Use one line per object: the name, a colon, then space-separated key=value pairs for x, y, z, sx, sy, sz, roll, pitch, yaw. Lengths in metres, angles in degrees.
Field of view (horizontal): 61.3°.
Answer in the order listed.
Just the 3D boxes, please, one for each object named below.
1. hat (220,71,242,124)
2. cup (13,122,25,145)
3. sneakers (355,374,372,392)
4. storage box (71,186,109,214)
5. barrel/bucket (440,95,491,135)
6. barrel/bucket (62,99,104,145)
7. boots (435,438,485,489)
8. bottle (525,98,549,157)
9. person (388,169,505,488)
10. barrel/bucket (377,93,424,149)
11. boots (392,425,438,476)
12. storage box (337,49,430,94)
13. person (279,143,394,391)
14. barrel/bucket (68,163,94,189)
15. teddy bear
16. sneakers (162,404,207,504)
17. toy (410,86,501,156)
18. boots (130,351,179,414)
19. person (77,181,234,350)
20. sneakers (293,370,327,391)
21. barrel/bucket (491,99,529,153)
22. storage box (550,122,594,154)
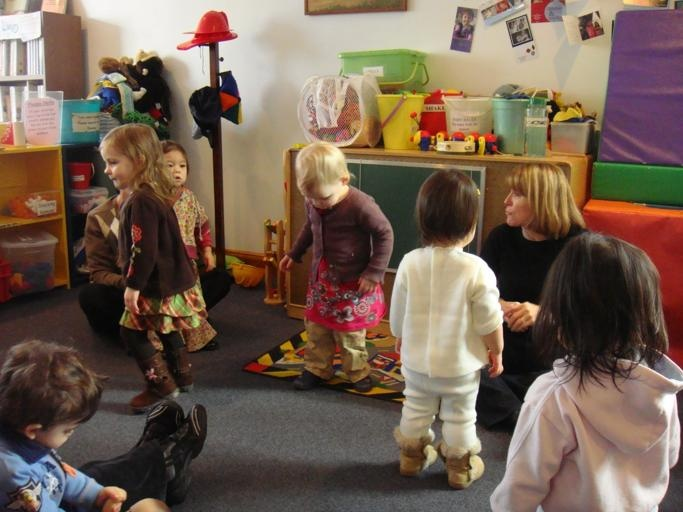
hat: x=-0.663 y=-0.939 z=3.434 sx=0.122 sy=0.295 sz=0.105 roll=-3 pitch=16 yaw=-11
cup: x=-1.858 y=-0.697 z=3.311 sx=0.063 sy=0.131 sz=0.057 roll=-8 pitch=18 yaw=-27
sneakers: x=0.089 y=0.528 z=2.388 sx=0.067 sy=0.049 sz=0.111 roll=1 pitch=2 yaw=1
storage box: x=-1.584 y=-0.350 z=3.641 sx=0.141 sy=0.105 sz=0.194 roll=8 pitch=15 yaw=31
barrel/bucket: x=0.611 y=-0.664 z=2.775 sx=0.200 sy=0.148 sz=0.206 roll=-4 pitch=15 yaw=1
barrel/bucket: x=-1.643 y=-0.843 z=3.612 sx=0.239 sy=0.251 sz=0.245 roll=3 pitch=15 yaw=-1
boots: x=0.405 y=0.667 z=1.896 sx=0.127 sy=0.154 sz=0.161 roll=-6 pitch=0 yaw=38
bottle: x=0.872 y=-0.566 z=2.567 sx=0.085 sy=0.243 sz=0.124 roll=-5 pitch=16 yaw=-16
person: x=0.337 y=0.235 z=1.835 sx=0.359 sy=0.988 sz=0.247 roll=5 pitch=16 yaw=16
barrel/bucket: x=0.297 y=-0.670 z=2.882 sx=0.267 sy=0.249 sz=0.256 roll=1 pitch=14 yaw=0
boots: x=0.258 y=0.641 z=1.943 sx=0.101 sy=0.158 sz=0.165 roll=11 pitch=21 yaw=40
storage box: x=0.211 y=-0.915 z=3.000 sx=0.351 sy=0.157 sz=0.248 roll=5 pitch=13 yaw=31
person: x=-0.038 y=0.045 z=2.357 sx=0.487 sy=0.990 sz=0.286 roll=5 pitch=16 yaw=16
barrel/bucket: x=-1.625 y=-0.497 z=3.650 sx=0.170 sy=0.154 sz=0.169 roll=0 pitch=-1 yaw=0
teddy bear: x=-1.354 y=-1.058 z=3.682 sx=0.427 sy=0.464 sz=0.340 roll=3 pitch=16 yaw=11
sneakers: x=-0.492 y=0.622 z=1.832 sx=0.084 sy=0.248 sz=0.099 roll=-4 pitch=-34 yaw=24
toy: x=0.540 y=-0.593 z=2.696 sx=0.345 sy=0.241 sz=0.346 roll=5 pitch=9 yaw=28
boots: x=-0.768 y=0.506 z=2.295 sx=0.102 sy=0.203 sz=0.217 roll=-3 pitch=7 yaw=39
person: x=-0.972 y=-0.006 z=3.029 sx=0.584 sy=0.832 sz=0.892 roll=11 pitch=2 yaw=29
sneakers: x=-0.131 y=0.524 z=2.403 sx=0.056 sy=0.059 sz=0.152 roll=-4 pitch=-8 yaw=30
barrel/bucket: x=0.791 y=-0.595 z=2.660 sx=0.190 sy=0.233 sz=0.170 roll=-3 pitch=9 yaw=0
storage box: x=1.070 y=-0.538 z=2.656 sx=0.167 sy=0.122 sz=0.167 roll=5 pitch=13 yaw=23
